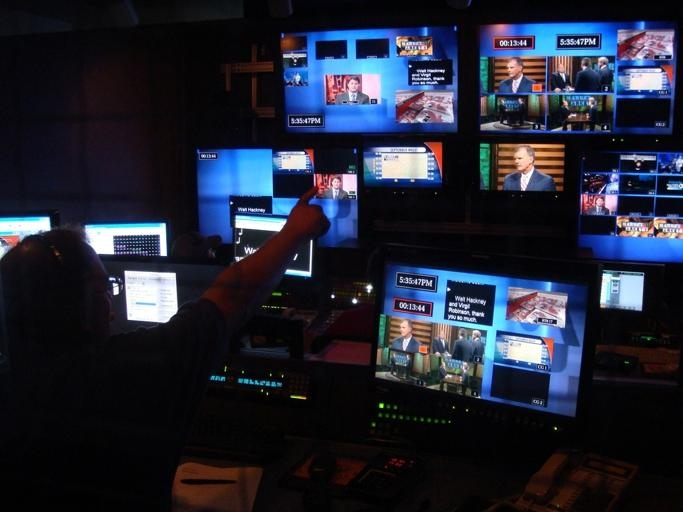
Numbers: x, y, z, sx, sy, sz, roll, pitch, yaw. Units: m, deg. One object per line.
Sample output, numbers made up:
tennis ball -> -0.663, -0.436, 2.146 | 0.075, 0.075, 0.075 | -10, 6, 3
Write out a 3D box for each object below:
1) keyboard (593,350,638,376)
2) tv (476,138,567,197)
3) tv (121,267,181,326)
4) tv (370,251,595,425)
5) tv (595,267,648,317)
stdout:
keyboard -> 1.226, 0.475, 2.775 | 0.178, 0.053, 0.161 | 6, 11, 24
tv -> 1.099, -0.516, 3.667 | 0.162, 0.294, 0.331 | -18, 18, -34
tv -> -0.849, 0.167, 2.796 | 0.259, 0.225, 0.027 | 4, 13, 17
tv -> 0.452, 0.242, 2.071 | 0.675, 0.480, 0.114 | 5, 10, 20
tv -> 1.325, 0.158, 2.929 | 0.269, 0.249, 0.145 | 2, 3, 17
